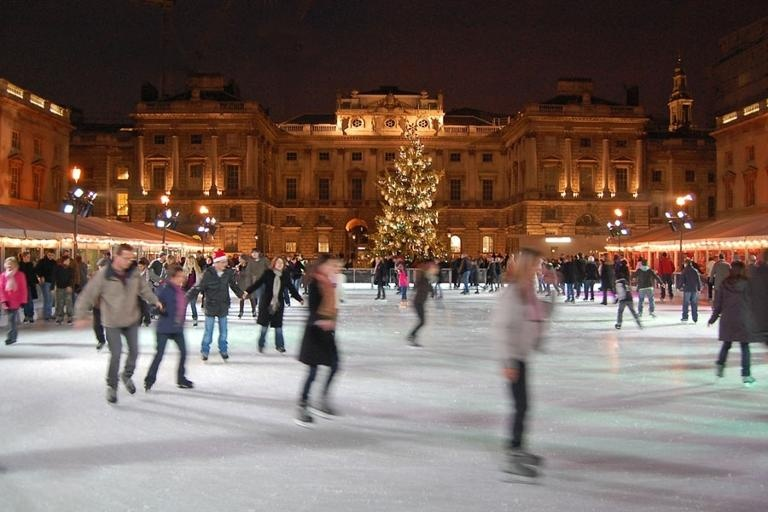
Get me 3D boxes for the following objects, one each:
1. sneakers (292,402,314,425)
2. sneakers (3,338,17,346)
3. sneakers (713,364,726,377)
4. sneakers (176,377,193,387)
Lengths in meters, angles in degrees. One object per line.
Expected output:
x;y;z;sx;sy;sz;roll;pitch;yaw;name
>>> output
-1.236;2.450;12.128;0.282;0.253;0.421;-1;10;-7;sneakers
-8.582;1.985;17.959;0.129;0.135;0.207;-4;-12;-43;sneakers
6.270;2.141;14.597;0.229;0.257;0.229;-1;-3;-8;sneakers
-3.534;2.261;13.873;0.194;0.118;0.191;2;0;-36;sneakers
